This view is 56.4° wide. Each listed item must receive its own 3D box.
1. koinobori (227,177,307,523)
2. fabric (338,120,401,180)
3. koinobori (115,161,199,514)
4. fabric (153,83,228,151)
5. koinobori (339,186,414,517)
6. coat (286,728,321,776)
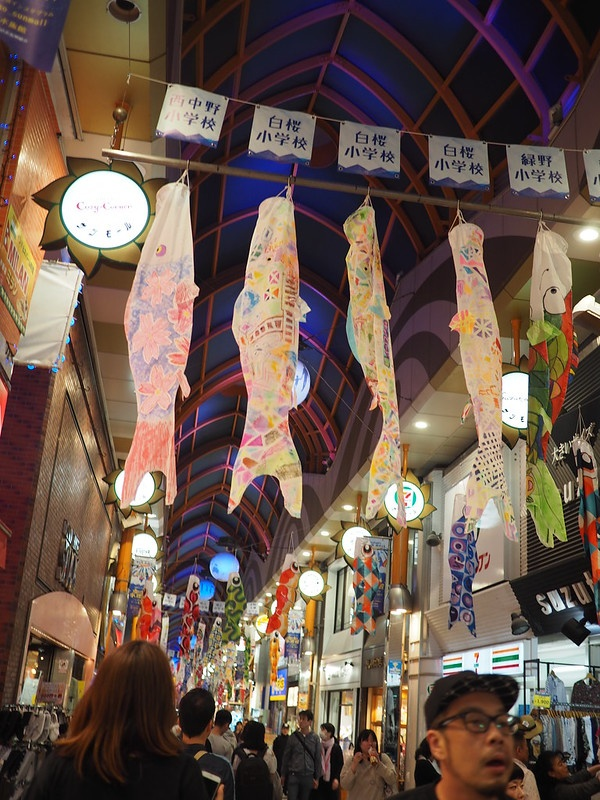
[{"bbox_3d":[-0.240,-0.595,4.317,0.605,3.088,0.553,3,-24,-1],"label":"koinobori"},{"bbox_3d":[0.590,-2.115,4.718,0.540,0.493,0.019,5,-11,-6],"label":"fabric"},{"bbox_3d":[-1.068,-0.604,4.267,0.535,2.674,0.323,9,-24,-14],"label":"koinobori"},{"bbox_3d":[-0.877,-2.283,4.519,0.506,0.583,0.062,9,-17,-4],"label":"fabric"},{"bbox_3d":[0.608,-0.476,4.819,0.598,3.198,0.451,-6,-25,13],"label":"koinobori"},{"bbox_3d":[0.045,4.765,7.526,0.536,0.748,0.287,7,-35,-4],"label":"coat"}]
